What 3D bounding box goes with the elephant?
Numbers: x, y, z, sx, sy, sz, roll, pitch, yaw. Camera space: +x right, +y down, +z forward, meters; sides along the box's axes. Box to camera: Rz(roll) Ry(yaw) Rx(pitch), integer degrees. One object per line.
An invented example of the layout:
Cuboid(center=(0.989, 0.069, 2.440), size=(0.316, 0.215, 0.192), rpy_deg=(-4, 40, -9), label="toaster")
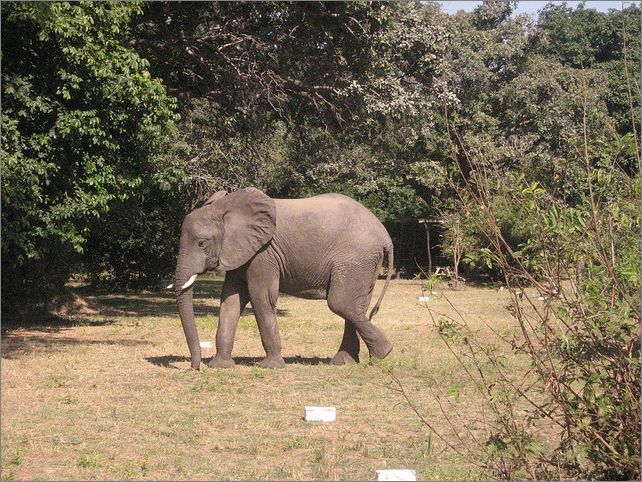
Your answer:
Cuboid(center=(-0.710, 0.489, 16.136), size=(4.952, 4.138, 2.509), rpy_deg=(2, -6, -10), label="elephant")
